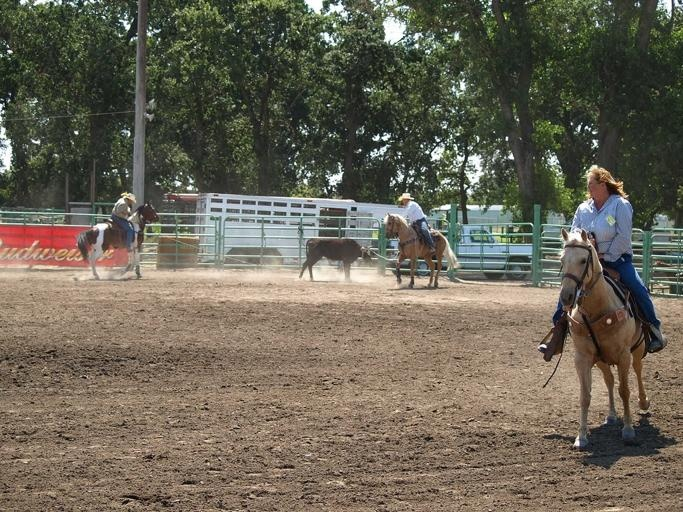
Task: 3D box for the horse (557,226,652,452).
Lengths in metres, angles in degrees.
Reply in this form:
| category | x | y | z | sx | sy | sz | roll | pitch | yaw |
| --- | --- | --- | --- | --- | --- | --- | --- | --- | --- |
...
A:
| category | x | y | z | sx | sy | sz | roll | pitch | yaw |
| --- | --- | --- | --- | --- | --- | --- | --- | --- | --- |
| horse | 7.519 | 2.576 | 34.702 | 2.059 | 5.742 | 6.989 | -4 | -6 | 24 |

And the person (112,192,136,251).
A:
| category | x | y | z | sx | sy | sz | roll | pitch | yaw |
| --- | --- | --- | --- | --- | --- | --- | --- | --- | --- |
| person | -8.313 | -1.281 | 46.315 | 0.900 | 2.149 | 0.582 | 1 | -2 | -12 |

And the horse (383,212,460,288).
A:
| category | x | y | z | sx | sy | sz | roll | pitch | yaw |
| --- | --- | --- | --- | --- | --- | --- | --- | --- | --- |
| horse | 3.056 | -0.069 | 46.366 | 0.980 | 2.688 | 4.342 | -9 | -12 | 43 |

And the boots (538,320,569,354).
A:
| category | x | y | z | sx | sy | sz | roll | pitch | yaw |
| --- | --- | --- | --- | --- | --- | --- | --- | --- | --- |
| boots | 6.021 | 2.237 | 33.871 | 0.289 | 1.090 | 0.614 | 46 | -18 | -23 |

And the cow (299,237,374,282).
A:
| category | x | y | z | sx | sy | sz | roll | pitch | yaw |
| --- | --- | --- | --- | --- | --- | --- | --- | --- | --- |
| cow | -0.374 | 0.125 | 48.246 | 2.656 | 1.713 | 1.422 | 2 | -2 | -15 |
